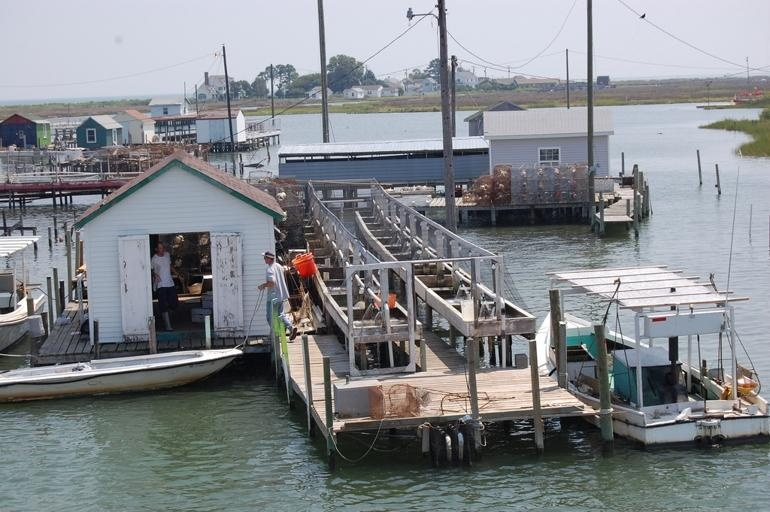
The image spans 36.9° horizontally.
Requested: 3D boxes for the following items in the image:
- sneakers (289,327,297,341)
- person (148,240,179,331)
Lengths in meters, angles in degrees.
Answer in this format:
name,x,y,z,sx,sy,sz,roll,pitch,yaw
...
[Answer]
name,x,y,z,sx,sy,sz,roll,pitch,yaw
sneakers,-2.755,2.282,34.773,0.180,0.404,0.173,11,1,-18
person,-6.803,0.847,35.494,0.717,2.671,1.069,-4,4,-11
